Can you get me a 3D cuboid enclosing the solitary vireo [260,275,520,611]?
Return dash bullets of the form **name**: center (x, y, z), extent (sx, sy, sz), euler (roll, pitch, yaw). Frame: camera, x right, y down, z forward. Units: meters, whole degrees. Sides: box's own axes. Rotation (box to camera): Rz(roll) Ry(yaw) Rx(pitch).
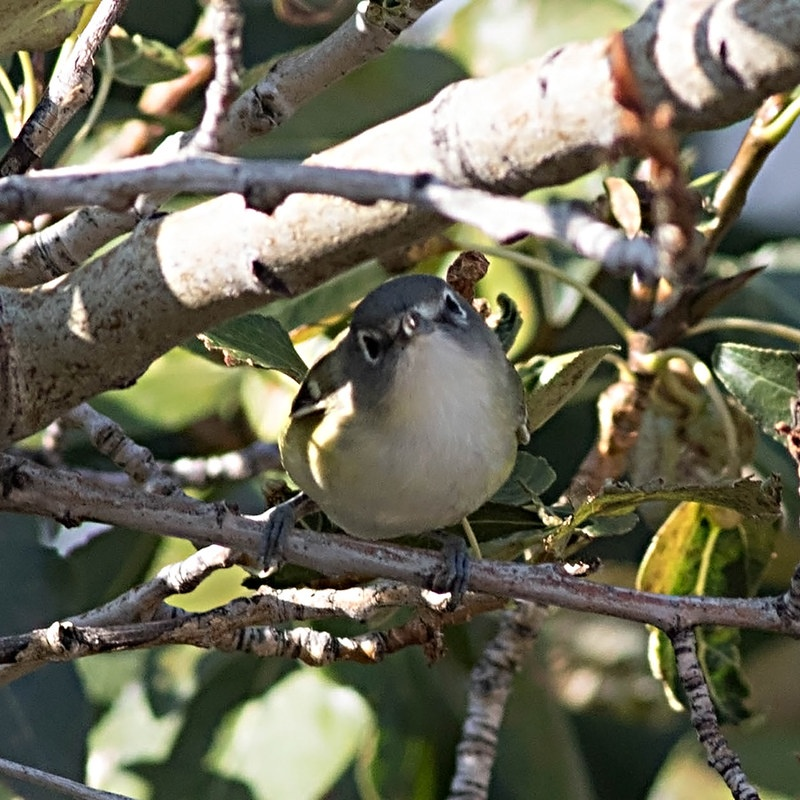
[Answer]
- **solitary vireo**: center (-0.009, -0.015, 2.108), extent (0.441, 0.635, 0.444), euler (7, 106, -2)
